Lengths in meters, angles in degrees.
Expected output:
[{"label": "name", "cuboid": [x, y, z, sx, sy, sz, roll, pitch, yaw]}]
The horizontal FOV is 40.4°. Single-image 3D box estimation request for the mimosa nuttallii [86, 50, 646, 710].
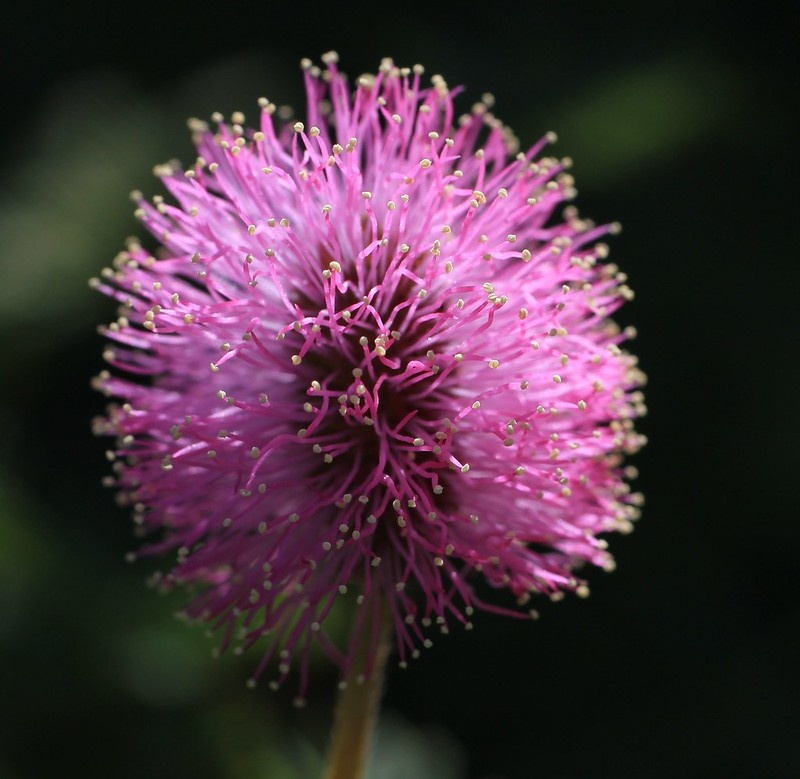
[{"label": "mimosa nuttallii", "cuboid": [-0.038, -0.053, 1.817, 0.941, 1.024, 0.443, 4, 3, -9]}]
